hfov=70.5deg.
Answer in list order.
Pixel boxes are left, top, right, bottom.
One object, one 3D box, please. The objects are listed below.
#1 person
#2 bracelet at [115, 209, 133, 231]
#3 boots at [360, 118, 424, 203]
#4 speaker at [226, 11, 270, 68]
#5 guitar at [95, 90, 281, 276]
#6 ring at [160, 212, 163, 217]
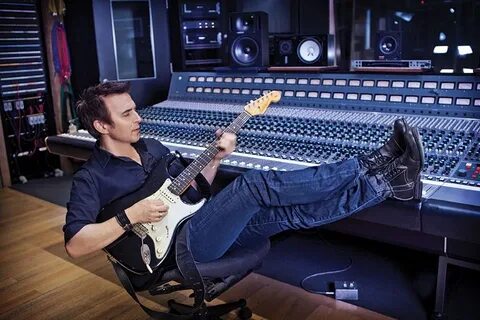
[{"bbox_3d":[0.004,0.137,2.027,1.918,0.993,0.951,-3,0,13],"label":"person"},{"bbox_3d":[-0.585,0.309,1.752,0.042,0.106,0.091,-34,16,10],"label":"bracelet"},{"bbox_3d":[0.847,-0.031,1.827,0.218,0.494,0.304,2,-2,-26],"label":"boots"},{"bbox_3d":[0.059,-1.148,3.193,0.343,0.497,0.222,-2,18,-4],"label":"speaker"},{"bbox_3d":[-0.162,0.117,2.084,0.449,0.176,1.383,41,69,19],"label":"guitar"},{"bbox_3d":[-0.401,0.279,1.727,0.017,0.023,0.007,-2,-6,-36],"label":"ring"}]
